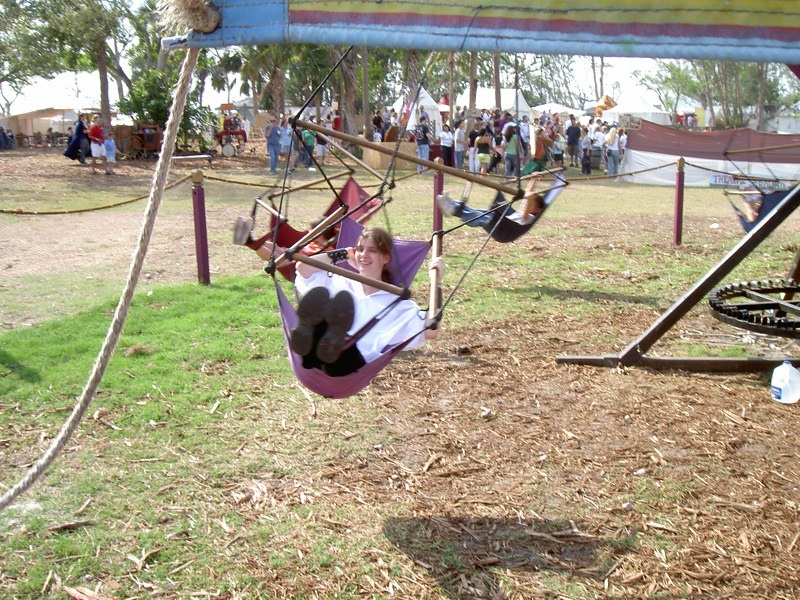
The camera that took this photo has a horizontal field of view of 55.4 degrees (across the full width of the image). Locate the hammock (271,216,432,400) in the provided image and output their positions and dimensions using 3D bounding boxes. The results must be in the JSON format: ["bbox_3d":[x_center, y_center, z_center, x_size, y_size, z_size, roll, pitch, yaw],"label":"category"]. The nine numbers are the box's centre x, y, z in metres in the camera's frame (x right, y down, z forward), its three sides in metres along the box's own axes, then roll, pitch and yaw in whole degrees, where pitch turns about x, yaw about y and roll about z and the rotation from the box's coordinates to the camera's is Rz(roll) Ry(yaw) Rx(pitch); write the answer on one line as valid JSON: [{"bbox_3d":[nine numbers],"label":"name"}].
[{"bbox_3d":[-0.318,0.020,5.318,1.263,0.690,1.548,6,43,16],"label":"hammock"}]

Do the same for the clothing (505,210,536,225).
[{"bbox_3d":[1.275,-0.865,8.037,0.229,0.087,0.225,-17,28,-38],"label":"clothing"}]

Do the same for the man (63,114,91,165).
[{"bbox_3d":[-8.323,-4.253,19.877,0.813,1.279,0.704,-2,14,-16],"label":"man"}]

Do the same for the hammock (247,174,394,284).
[{"bbox_3d":[-0.806,-0.409,6.395,1.189,1.118,1.001,-9,24,-34],"label":"hammock"}]

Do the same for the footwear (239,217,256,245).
[{"bbox_3d":[-1.072,-0.480,5.265,0.131,0.219,0.290,1,10,-11],"label":"footwear"}]

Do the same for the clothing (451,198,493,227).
[{"bbox_3d":[0.680,-0.792,7.111,0.338,0.161,0.438,16,7,-13],"label":"clothing"}]
